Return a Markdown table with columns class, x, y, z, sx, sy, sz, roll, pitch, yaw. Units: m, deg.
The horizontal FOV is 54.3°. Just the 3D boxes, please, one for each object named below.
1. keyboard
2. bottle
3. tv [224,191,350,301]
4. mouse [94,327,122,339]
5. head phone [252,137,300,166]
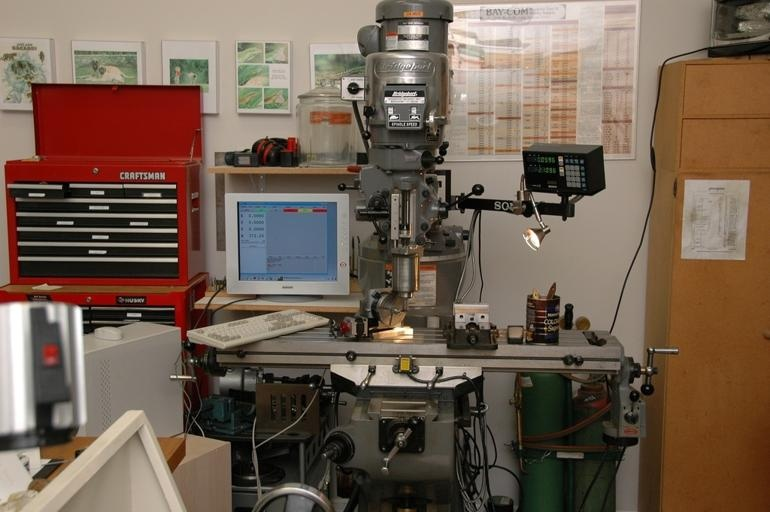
| class | x | y | z | sx | sy | sz | roll | pitch | yaw |
| --- | --- | --- | --- | --- | --- | --- | --- | --- | --- |
| keyboard | -0.597 | 0.356 | 3.589 | 0.619 | 0.106 | 0.289 | -7 | 9 | -36 |
| bottle | -0.340 | -0.759 | 4.269 | 0.413 | 0.479 | 0.416 | -1 | 3 | -4 |
| tv | -0.539 | -0.065 | 4.131 | 0.598 | 0.506 | 0.234 | 0 | 0 | 1 |
| mouse | -1.340 | 0.364 | 3.629 | 0.113 | 0.039 | 0.063 | 2 | 5 | 16 |
| head phone | -0.624 | -0.602 | 4.232 | 0.159 | 0.125 | 0.250 | -10 | 16 | -42 |
